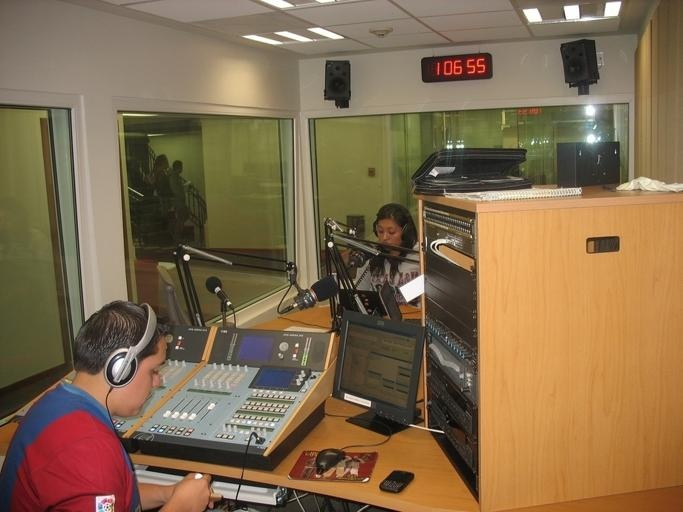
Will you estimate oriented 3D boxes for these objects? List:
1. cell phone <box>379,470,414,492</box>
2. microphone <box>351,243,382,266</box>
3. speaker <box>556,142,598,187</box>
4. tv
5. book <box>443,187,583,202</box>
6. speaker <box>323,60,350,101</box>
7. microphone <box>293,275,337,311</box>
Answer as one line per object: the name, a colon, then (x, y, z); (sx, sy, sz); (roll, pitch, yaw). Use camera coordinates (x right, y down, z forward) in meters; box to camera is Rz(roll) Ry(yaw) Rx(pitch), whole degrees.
cell phone: (0.196, 0.800, 1.899); (0.080, 0.020, 0.137); (11, 19, 40)
microphone: (0.134, -0.011, 3.027); (0.133, 0.090, 0.192); (-1, 2, -7)
speaker: (0.897, -0.354, 2.083); (0.172, 0.166, 0.146); (10, 18, 40)
tv: (0.149, 0.504, 2.235); (0.448, 0.495, 0.277); (3, 7, 38)
book: (0.550, -0.206, 1.750); (0.403, 0.041, 0.272); (0, 14, 4)
speaker: (-0.044, -1.784, 5.431); (0.296, 0.352, 0.345); (1, 10, 2)
microphone: (-0.125, 0.193, 2.817); (0.270, 0.121, 0.111); (-29, 1, -6)
